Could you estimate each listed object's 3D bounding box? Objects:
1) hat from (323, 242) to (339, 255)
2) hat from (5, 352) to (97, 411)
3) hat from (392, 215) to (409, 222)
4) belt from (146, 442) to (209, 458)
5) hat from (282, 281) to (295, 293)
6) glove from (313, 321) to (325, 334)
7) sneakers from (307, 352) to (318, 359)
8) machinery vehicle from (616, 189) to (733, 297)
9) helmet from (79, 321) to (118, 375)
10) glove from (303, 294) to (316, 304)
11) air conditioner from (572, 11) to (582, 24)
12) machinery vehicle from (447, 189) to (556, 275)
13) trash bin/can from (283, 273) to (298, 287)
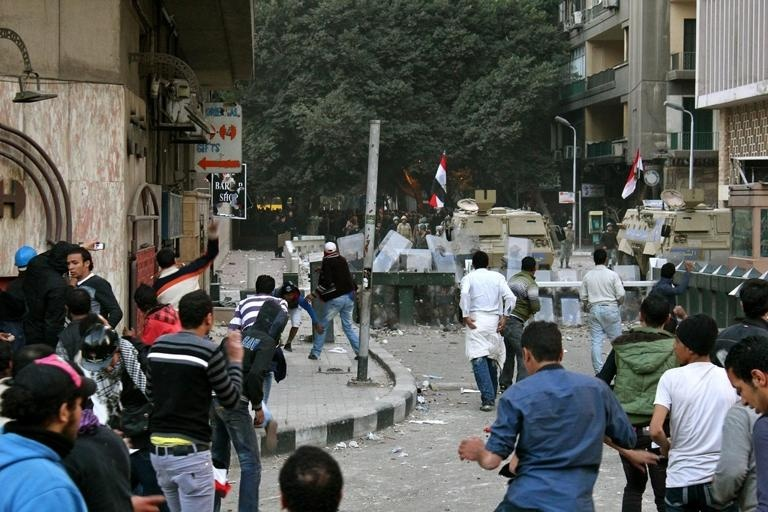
[{"bbox_3d":[-0.990,-0.136,23.063,0.196,0.296,0.283,4,21,4],"label":"hat"},{"bbox_3d":[-3.608,1.271,13.271,0.734,0.427,0.525,-22,13,-19],"label":"hat"},{"bbox_3d":[0.702,-1.576,51.229,0.632,0.298,0.469,-1,2,9],"label":"hat"},{"bbox_3d":[-2.497,2.349,14.968,0.676,0.163,0.108,0,14,-4],"label":"belt"},{"bbox_3d":[-1.659,0.522,21.367,0.181,0.146,0.175,1,14,21],"label":"hat"},{"bbox_3d":[-1.182,1.256,22.129,0.201,0.250,0.276,-11,-16,-1],"label":"glove"},{"bbox_3d":[-1.374,1.900,23.170,0.078,0.170,0.230,6,-16,-38],"label":"sneakers"},{"bbox_3d":[8.364,-0.531,35.231,2.537,2.637,4.063,0,4,-10],"label":"machinery vehicle"},{"bbox_3d":[-3.459,1.116,15.056,0.392,0.598,0.318,13,-23,7],"label":"helmet"},{"bbox_3d":[-1.394,0.789,23.192,0.220,0.123,0.322,2,-4,-13],"label":"glove"},{"bbox_3d":[9.695,-11.940,61.078,0.312,0.557,0.644,-4,15,-20],"label":"air conditioner"},{"bbox_3d":[3.398,-0.665,33.311,1.928,1.810,3.022,-1,0,-5],"label":"machinery vehicle"},{"bbox_3d":[-2.064,0.433,27.060,0.299,0.453,0.446,-1,9,-2],"label":"trash bin/can"}]
